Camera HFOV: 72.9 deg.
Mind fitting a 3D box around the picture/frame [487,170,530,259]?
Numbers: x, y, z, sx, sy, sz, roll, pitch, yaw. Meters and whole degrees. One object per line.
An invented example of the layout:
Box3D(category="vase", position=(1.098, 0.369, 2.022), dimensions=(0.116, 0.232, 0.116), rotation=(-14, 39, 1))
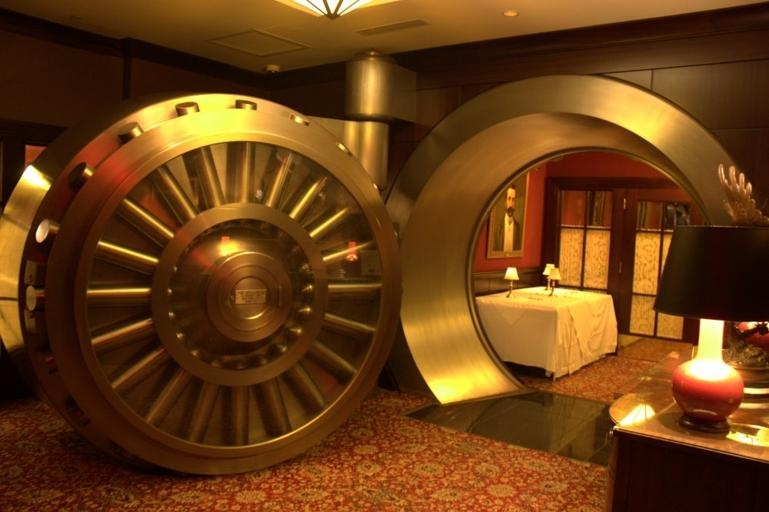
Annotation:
Box3D(category="picture/frame", position=(1.653, -0.544, 7.101), dimensions=(0.102, 1.368, 1.174), rotation=(6, 9, 32))

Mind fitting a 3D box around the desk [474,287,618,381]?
Box3D(category="desk", position=(2.150, 0.894, 6.607), dimensions=(0.963, 0.631, 1.562), rotation=(1, 2, 36))
